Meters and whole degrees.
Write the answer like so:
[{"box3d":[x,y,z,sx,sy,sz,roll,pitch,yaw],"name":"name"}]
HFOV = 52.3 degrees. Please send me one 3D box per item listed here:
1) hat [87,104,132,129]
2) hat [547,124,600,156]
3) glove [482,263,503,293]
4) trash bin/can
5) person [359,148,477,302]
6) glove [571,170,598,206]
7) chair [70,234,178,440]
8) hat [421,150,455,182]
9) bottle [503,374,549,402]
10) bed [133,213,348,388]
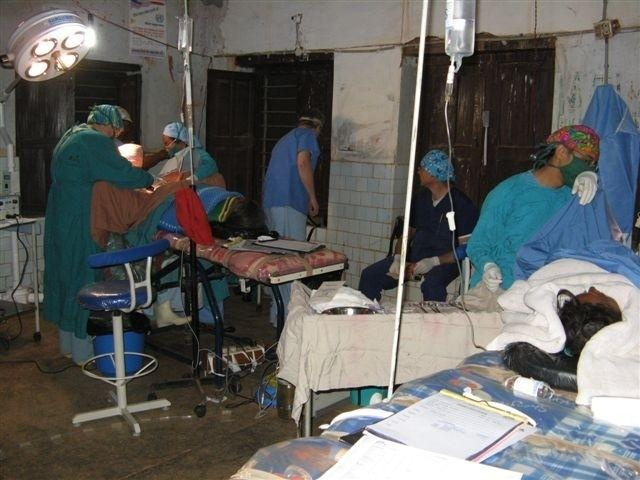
[{"box3d":[-1.717,-1.018,5.476,0.348,0.186,0.241,8,8,-44],"name":"hat"},{"box3d":[1.617,-0.626,4.152,0.322,0.209,0.162,3,6,12],"name":"hat"},{"box3d":[1.078,0.222,4.095,0.070,0.126,0.167,14,25,4],"name":"glove"},{"box3d":[-1.554,0.800,5.003,0.433,0.465,0.408,-3,5,-38],"name":"trash bin/can"},{"box3d":[0.827,0.043,5.439,0.967,1.541,0.966,3,7,9],"name":"person"},{"box3d":[1.673,-0.326,4.050,0.207,0.206,0.116,-2,7,-34],"name":"glove"},{"box3d":[-1.363,0.609,4.584,0.642,1.252,1.045,0,6,-13],"name":"chair"},{"box3d":[0.968,-0.669,5.291,0.265,0.200,0.200,0,-21,8],"name":"hat"},{"box3d":[0.964,0.671,3.035,0.171,0.082,0.096,12,4,27],"name":"bottle"},{"box3d":[-0.510,0.475,5.307,1.374,0.905,0.906,9,13,44],"name":"bed"}]
